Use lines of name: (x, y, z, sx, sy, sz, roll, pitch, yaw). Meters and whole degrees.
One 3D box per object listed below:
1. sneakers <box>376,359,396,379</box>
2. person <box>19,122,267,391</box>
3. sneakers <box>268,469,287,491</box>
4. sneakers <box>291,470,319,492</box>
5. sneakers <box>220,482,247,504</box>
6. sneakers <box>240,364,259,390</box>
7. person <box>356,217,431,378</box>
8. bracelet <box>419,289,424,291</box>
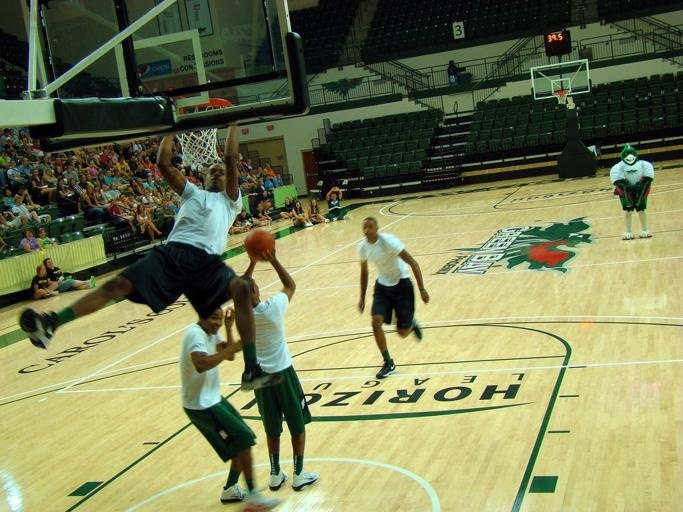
sneakers: (0.548, 1.316, 6.221, 0.106, 0.146, 0.326, 5, 7, 30)
person: (-1.269, 0.008, 3.763, 1.262, 1.654, 1.149, -10, 11, -2)
sneakers: (-0.493, 1.777, 4.271, 0.072, 0.083, 0.196, 2, 11, 15)
sneakers: (-0.285, 1.763, 4.285, 0.087, 0.113, 0.250, 5, 11, 35)
sneakers: (-0.828, 1.860, 4.225, 0.226, 0.100, 0.114, -2, 21, -10)
sneakers: (-0.576, 0.789, 3.438, 0.135, 0.139, 0.137, -8, 11, 6)
person: (0.585, 0.442, 6.258, 0.802, 1.778, 0.700, -10, 11, -2)
bracelet: (0.925, 0.397, 6.144, 0.032, 0.024, 0.033, 1, 8, 22)
